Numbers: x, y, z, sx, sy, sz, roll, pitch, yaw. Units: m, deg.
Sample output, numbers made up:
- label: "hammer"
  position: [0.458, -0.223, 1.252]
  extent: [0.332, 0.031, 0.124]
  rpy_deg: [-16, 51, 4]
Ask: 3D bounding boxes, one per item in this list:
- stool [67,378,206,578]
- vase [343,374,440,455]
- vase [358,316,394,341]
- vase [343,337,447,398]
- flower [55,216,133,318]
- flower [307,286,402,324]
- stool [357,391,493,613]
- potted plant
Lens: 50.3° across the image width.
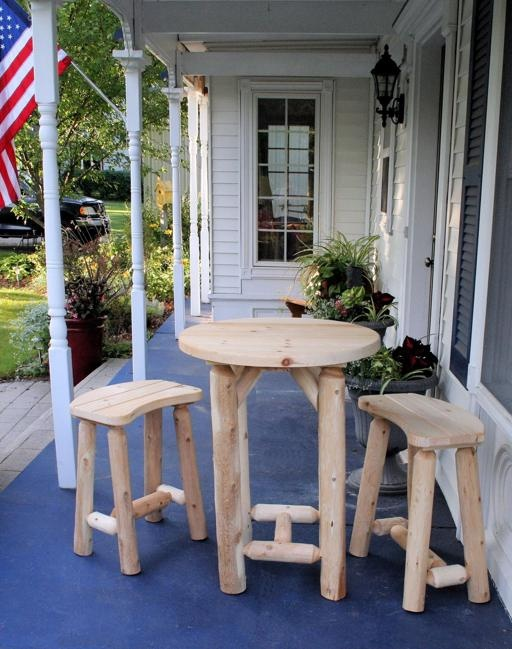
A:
- label: "stool"
  position: [-0.446, 0.576, 2.117]
  extent: [0.334, 0.588, 0.467]
  rpy_deg: [2, 6, 37]
- label: "vase"
  position: [0.650, 0.415, 2.628]
  extent: [0.380, 0.446, 0.400]
  rpy_deg: [3, 5, 16]
- label: "vase"
  position: [0.835, 0.010, 3.762]
  extent: [0.246, 0.179, 0.255]
  rpy_deg: [-2, 5, -4]
- label: "vase"
  position: [0.679, 0.193, 2.615]
  extent: [0.352, 0.144, 0.362]
  rpy_deg: [8, 17, 32]
- label: "flower"
  position: [-1.848, -0.616, 6.210]
  extent: [0.953, 0.964, 0.769]
  rpy_deg: [4, 4, -41]
- label: "flower"
  position: [0.730, -0.116, 3.923]
  extent: [0.420, 0.217, 0.434]
  rpy_deg: [-2, -1, 3]
- label: "stool"
  position: [0.597, 0.632, 1.904]
  extent: [0.314, 0.597, 0.535]
  rpy_deg: [-4, 10, -16]
- label: "potted plant"
  position: [0.777, -0.612, 5.282]
  extent: [0.806, 0.573, 1.974]
  rpy_deg: [-1, 7, 4]
